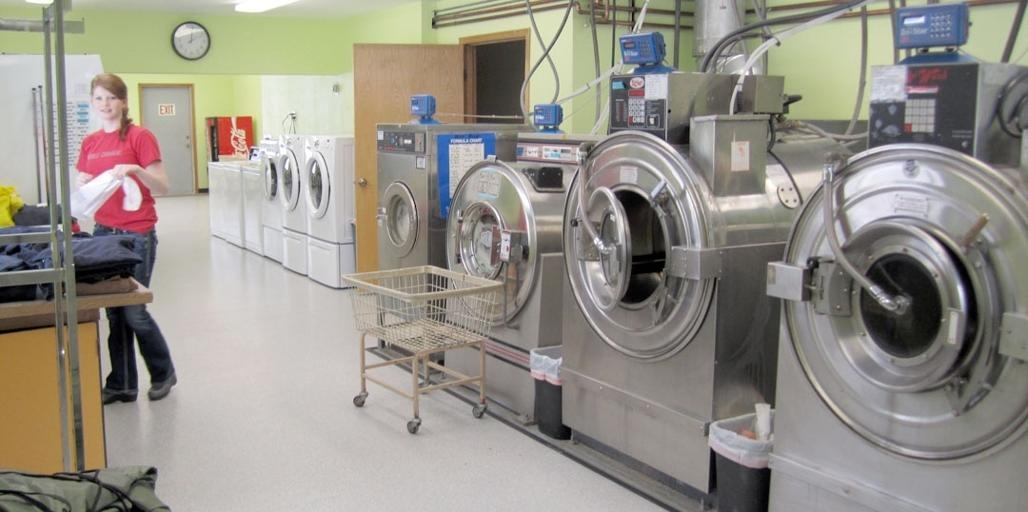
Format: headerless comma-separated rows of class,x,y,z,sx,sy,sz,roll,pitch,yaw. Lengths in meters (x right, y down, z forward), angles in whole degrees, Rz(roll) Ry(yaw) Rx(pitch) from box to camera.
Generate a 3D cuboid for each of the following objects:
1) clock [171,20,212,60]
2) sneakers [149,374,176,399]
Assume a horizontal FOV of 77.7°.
clock,-5.034,-3.342,9.882,0.652,0.641,0.094,-9,-2,-28
sneakers,-3.017,1.125,5.501,0.118,0.131,0.317,1,8,8
